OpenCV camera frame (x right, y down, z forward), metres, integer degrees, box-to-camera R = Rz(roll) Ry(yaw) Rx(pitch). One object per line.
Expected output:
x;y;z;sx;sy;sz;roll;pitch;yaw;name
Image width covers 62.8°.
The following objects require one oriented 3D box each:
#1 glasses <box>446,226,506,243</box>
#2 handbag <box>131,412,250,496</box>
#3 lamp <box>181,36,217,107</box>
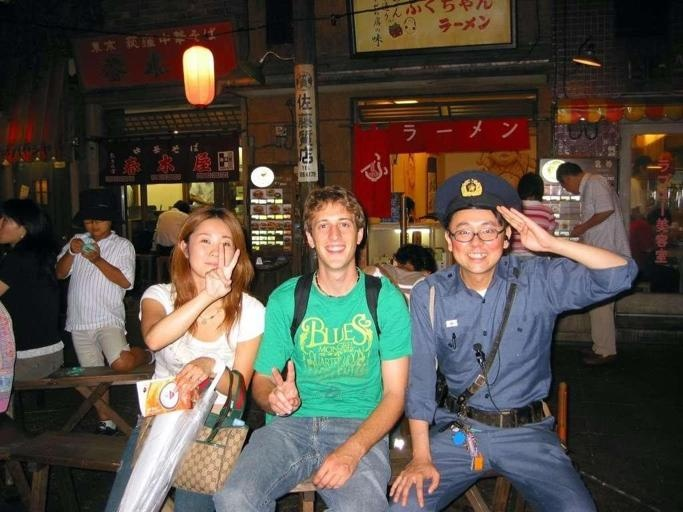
1.112;-0.174;4.586;0.427;0.119;0.119;0;13;6;glasses
-1.137;1.502;4.238;0.550;0.570;0.227;9;-24;29;handbag
-2.593;-3.280;10.200;0.520;1.081;0.350;-6;14;-19;lamp
